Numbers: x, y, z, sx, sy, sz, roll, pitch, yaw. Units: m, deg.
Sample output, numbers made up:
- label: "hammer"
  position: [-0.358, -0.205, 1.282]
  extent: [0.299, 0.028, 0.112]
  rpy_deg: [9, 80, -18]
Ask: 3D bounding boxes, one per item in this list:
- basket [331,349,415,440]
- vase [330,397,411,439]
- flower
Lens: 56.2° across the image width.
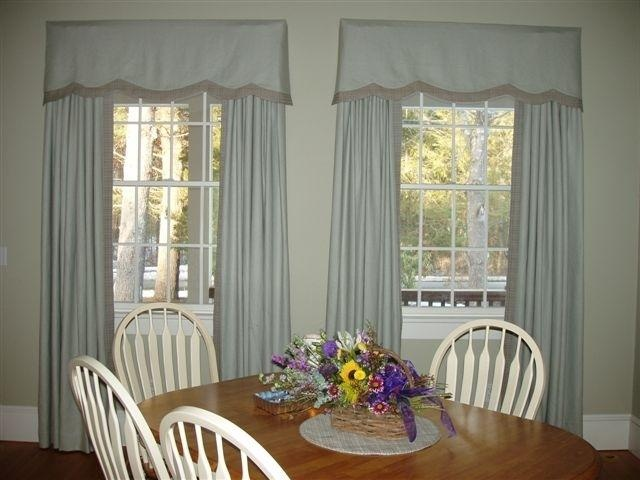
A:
- label: "basket"
  position: [0.316, 0.838, 3.298]
  extent: [0.482, 0.449, 0.339]
  rpy_deg: [3, -5, 24]
- label: "vase"
  position: [0.253, 0.936, 3.197]
  extent: [0.281, 0.111, 0.190]
  rpy_deg: [-3, -6, 23]
- label: "flower"
  position: [0.156, 0.755, 3.290]
  extent: [0.686, 0.357, 0.691]
  rpy_deg: [6, -9, 7]
